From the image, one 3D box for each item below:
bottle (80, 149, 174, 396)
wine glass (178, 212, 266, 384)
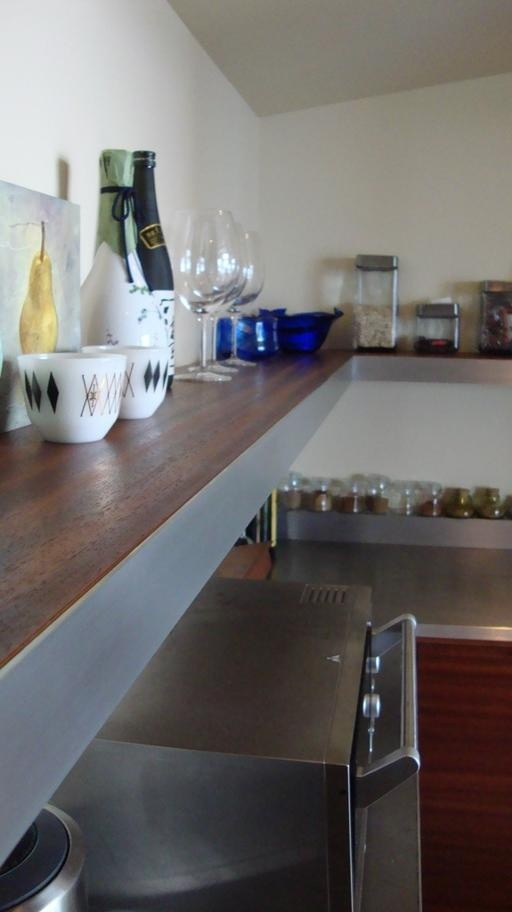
[{"bbox_3d":[-0.130,-0.203,0.714,0.069,0.292,0.102,1,14,3],"label":"bottle"},{"bbox_3d":[-0.049,-0.272,0.964,0.120,0.322,0.157,1,14,1],"label":"wine glass"}]
